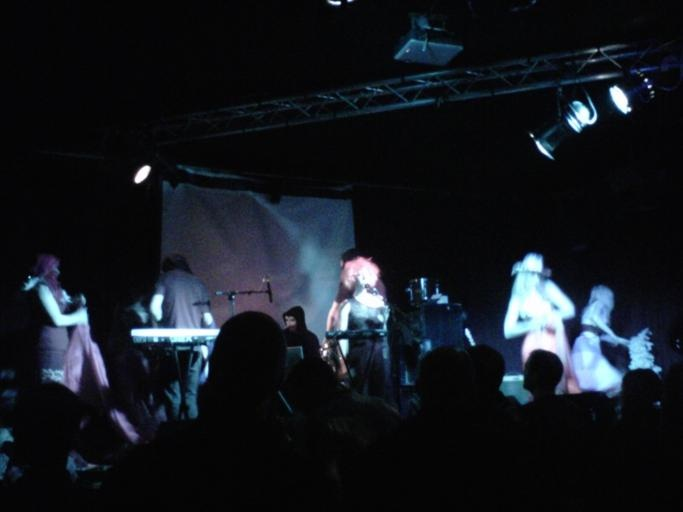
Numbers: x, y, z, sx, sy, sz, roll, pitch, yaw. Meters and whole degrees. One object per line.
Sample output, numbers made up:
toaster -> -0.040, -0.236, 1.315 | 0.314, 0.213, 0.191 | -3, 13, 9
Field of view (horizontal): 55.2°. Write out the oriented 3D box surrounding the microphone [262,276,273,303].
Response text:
microphone -> -1.011, 0.474, 8.832 | 0.065, 0.356, 0.081 | -21, -21, 34

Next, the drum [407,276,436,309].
drum -> 0.940, 0.422, 7.636 | 0.319, 0.350, 0.259 | 1, -5, 7
